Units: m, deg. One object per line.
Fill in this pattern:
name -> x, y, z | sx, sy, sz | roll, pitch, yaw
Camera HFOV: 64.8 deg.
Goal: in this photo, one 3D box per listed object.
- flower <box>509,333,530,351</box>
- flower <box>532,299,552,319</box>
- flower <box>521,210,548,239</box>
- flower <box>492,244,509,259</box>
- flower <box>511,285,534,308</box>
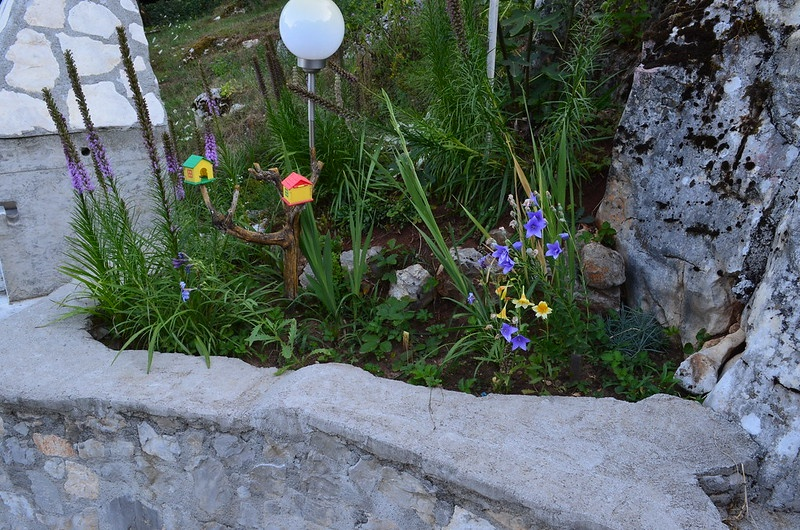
flower -> 0.745, 0.481, 3.906 | 0.110, 0.100, 0.079 | 14, 34, 29
flower -> 0.907, 0.281, 3.984 | 0.112, 0.122, 0.029 | 6, 18, 25
flower -> 0.858, -0.262, 3.991 | 0.122, 0.142, 0.135 | -3, 29, 2
flower -> 0.643, -0.098, 4.017 | 0.090, 0.088, 0.179 | 1, 31, 10
flower -> 0.777, 0.200, 3.997 | 0.108, 0.148, 0.096 | 1, -9, 36
